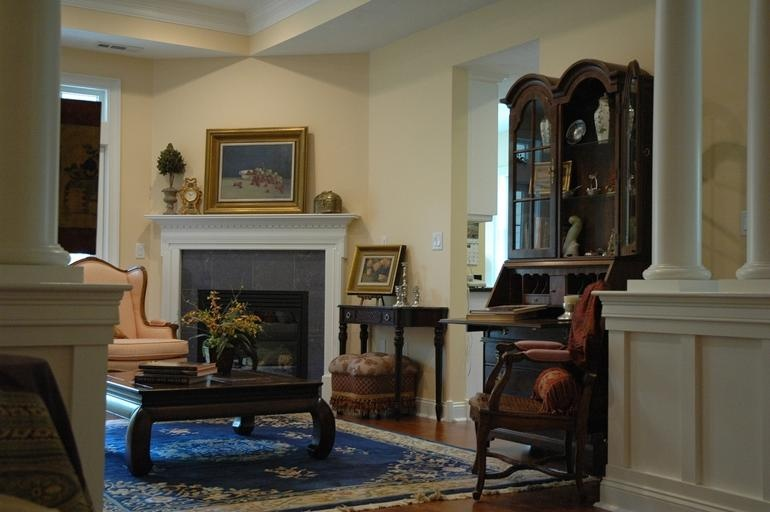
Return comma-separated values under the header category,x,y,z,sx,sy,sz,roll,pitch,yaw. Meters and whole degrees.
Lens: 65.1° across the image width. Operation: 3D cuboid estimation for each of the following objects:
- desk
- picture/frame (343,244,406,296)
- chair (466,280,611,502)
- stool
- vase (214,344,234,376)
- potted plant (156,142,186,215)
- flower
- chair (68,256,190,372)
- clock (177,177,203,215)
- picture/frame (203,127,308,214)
category,x,y,z,sx,sy,sz,roll,pitch,yaw
desk,-0.001,0.977,6.120,0.560,1.023,1.248,5,-5,-35
picture/frame,-0.096,0.135,6.259,0.588,0.514,0.103,0,-18,39
chair,1.122,0.838,4.342,1.169,1.747,1.169,2,-6,4
stool,-0.111,1.249,6.012,0.759,0.491,0.611,6,-8,-37
vase,-1.221,0.800,4.673,0.183,0.245,0.194,1,-3,-5
potted plant,-2.495,-0.903,7.001,0.344,0.826,0.275,-1,-4,-11
flower,-1.287,0.582,4.818,0.691,0.580,0.452,-4,1,19
chair,-2.611,0.599,5.951,1.071,1.273,0.958,-9,-7,41
clock,-2.236,-0.702,6.931,0.253,0.425,0.111,-1,-4,-13
picture/frame,-1.426,-0.954,6.845,1.020,0.834,0.074,0,-2,8
